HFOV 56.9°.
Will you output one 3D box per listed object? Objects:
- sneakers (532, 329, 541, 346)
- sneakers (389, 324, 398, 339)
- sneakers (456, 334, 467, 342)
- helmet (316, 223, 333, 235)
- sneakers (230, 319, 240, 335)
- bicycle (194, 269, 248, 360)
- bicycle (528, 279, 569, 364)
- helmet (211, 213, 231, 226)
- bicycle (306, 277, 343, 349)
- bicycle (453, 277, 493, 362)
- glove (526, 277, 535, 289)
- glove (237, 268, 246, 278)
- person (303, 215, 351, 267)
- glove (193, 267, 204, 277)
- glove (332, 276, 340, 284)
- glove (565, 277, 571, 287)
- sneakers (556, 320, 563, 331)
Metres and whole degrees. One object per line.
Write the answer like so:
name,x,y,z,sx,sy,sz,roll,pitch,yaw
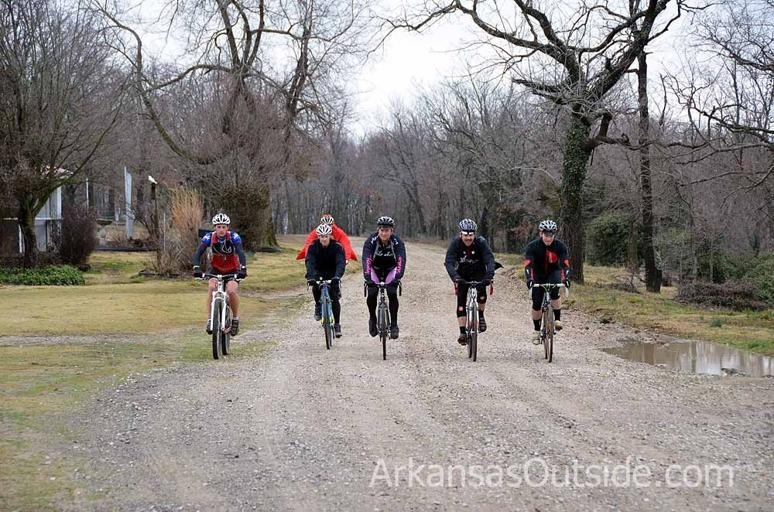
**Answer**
sneakers,3.526,1.934,16.825,0.262,0.428,0.286,0,1,4
sneakers,0.165,1.790,16.520,0.169,0.327,0.274,-3,14,-16
sneakers,1.717,1.905,16.350,0.145,0.181,0.227,7,16,8
helmet,-1.496,-0.617,16.920,0.328,0.338,0.344,0,13,-2
sneakers,-3.609,1.681,16.952,0.186,0.245,0.584,0,-2,-6
bicycle,-3.820,1.422,16.413,0.666,1.911,1.162,3,13,13
bicycle,3.770,1.511,16.527,0.602,1.799,1.099,-1,13,-6
helmet,-3.885,-0.846,16.684,0.388,0.214,0.559,0,2,-20
bicycle,-1.461,1.384,17.266,0.558,1.788,0.743,-1,13,-6
bicycle,1.933,1.479,16.344,0.481,1.867,0.909,2,13,6
glove,3.295,0.628,16.430,0.158,0.236,0.082,-1,-2,-3
glove,-3.337,0.404,16.590,0.199,0.184,0.189,-7,8,13
person,-1.425,-0.458,17.781,1.218,0.937,1.374,-5,9,-3
glove,-4.278,0.393,16.278,0.181,0.244,0.602,-3,14,-14
glove,-1.208,0.560,16.908,0.209,0.190,0.259,-1,13,-8
glove,4.124,0.604,16.330,0.073,0.265,0.191,8,15,32
sneakers,3.920,1.579,16.261,0.127,0.176,0.364,-3,-7,3
